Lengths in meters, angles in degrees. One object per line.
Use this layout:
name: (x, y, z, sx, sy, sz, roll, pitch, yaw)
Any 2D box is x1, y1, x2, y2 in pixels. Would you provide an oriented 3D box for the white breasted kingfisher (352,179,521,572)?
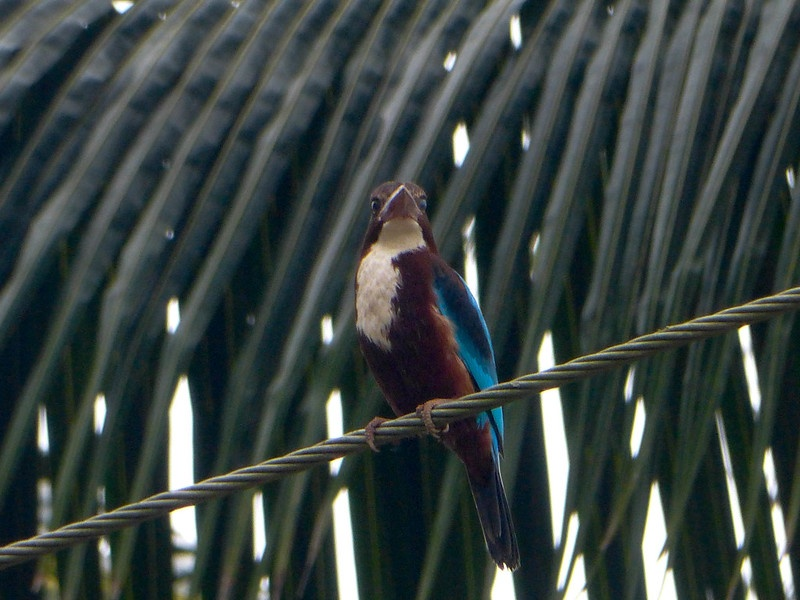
white breasted kingfisher: (0.124, 0.295, 7.278, 0.294, 1.075, 0.916, -21, -48, 33)
